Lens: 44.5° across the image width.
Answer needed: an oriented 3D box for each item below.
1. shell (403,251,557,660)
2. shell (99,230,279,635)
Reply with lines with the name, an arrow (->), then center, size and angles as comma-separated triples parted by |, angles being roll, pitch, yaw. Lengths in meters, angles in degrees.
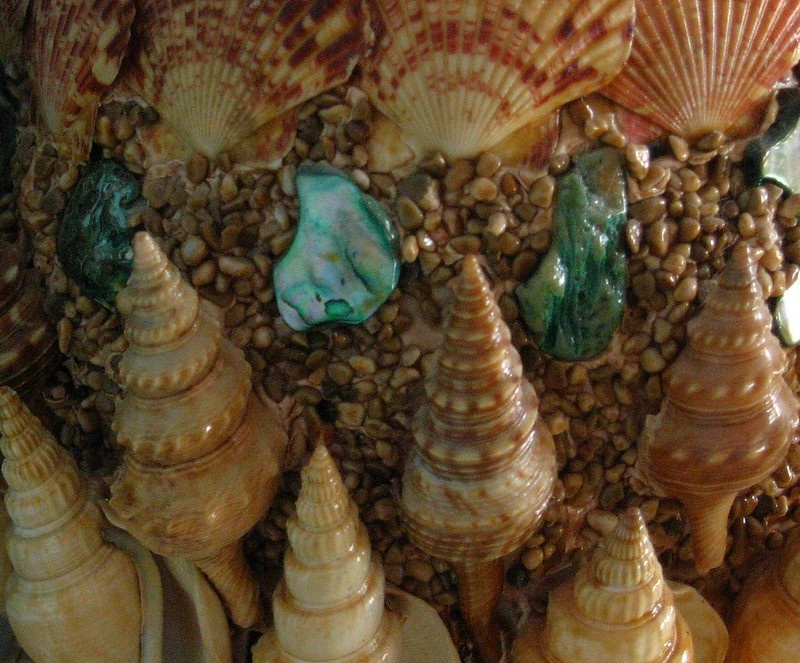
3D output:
shell -> 0.103, 0.111, 1.475 | 0.246, 0.497, 0.144 | -4, 22, 8
shell -> -0.333, 0.181, 1.560 | 0.313, 0.709, 0.195 | -16, 23, -19
